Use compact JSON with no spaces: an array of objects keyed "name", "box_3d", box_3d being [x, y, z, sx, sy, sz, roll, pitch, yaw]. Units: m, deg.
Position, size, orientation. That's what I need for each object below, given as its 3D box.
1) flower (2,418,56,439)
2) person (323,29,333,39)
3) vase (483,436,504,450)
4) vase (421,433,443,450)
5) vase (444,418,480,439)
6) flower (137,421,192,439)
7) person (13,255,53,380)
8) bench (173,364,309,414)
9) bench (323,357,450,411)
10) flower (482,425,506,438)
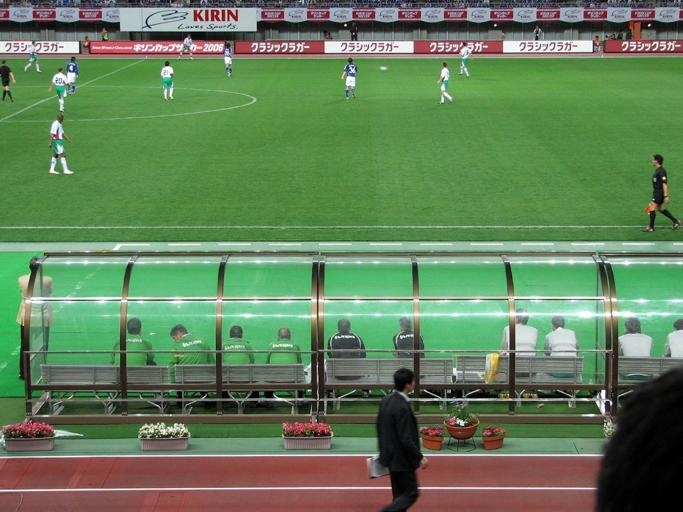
[{"name":"flower","box_3d":[-6.306,3.524,18.941,0.638,0.158,0.501,0,7,-4]},{"name":"person","box_3d":[-1.131,-19.131,80.796,0.945,0.412,1.139,3,8,-12]},{"name":"vase","box_3d":[3.049,3.799,18.911,0.369,0.111,0.323,4,6,42]},{"name":"vase","box_3d":[1.829,3.782,18.941,0.432,0.192,0.347,1,1,7]},{"name":"vase","box_3d":[2.406,3.525,18.907,0.605,0.184,0.517,-1,6,0]},{"name":"flower","box_3d":[-3.619,3.570,18.978,0.669,0.156,0.494,1,2,-2]},{"name":"person","box_3d":[-6.699,1.404,20.617,0.859,2.729,1.496,-4,5,-18]},{"name":"bench","box_3d":[-2.453,2.970,20.502,3.345,1.015,1.003,5,-16,-33]},{"name":"bench","box_3d":[1.257,2.784,20.325,2.867,0.921,0.849,-2,-16,18]},{"name":"flower","box_3d":[3.067,3.581,19.003,0.291,0.096,0.280,3,3,36]}]
